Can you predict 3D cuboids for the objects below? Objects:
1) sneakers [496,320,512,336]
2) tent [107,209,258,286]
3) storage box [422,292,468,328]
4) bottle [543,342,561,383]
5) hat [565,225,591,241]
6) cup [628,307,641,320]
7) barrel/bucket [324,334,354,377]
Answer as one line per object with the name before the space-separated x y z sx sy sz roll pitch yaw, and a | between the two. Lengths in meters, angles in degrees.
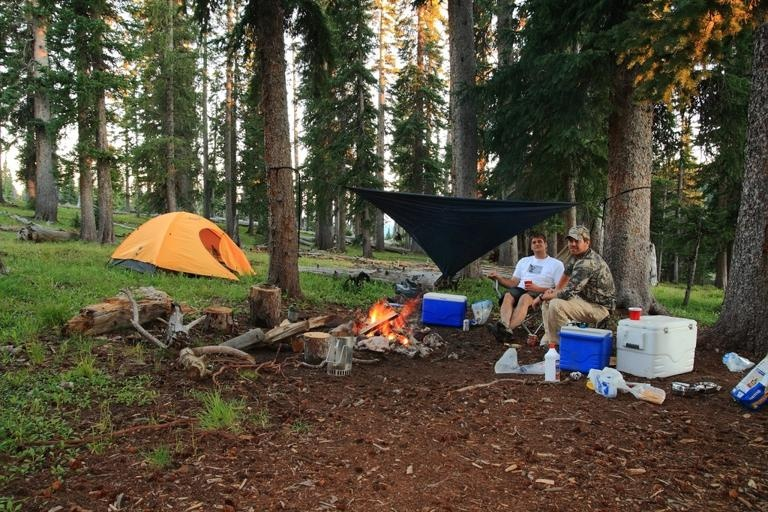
sneakers | 2.321 1.393 14.374 0.296 0.259 0.196 3 2 8
tent | -4.822 -0.280 17.828 3.038 1.573 1.234 2 2 -17
storage box | 1.248 1.138 15.402 0.873 0.618 0.519 6 1 19
bottle | 2.988 1.858 13.016 0.437 0.674 0.255 1 2 -41
hat | 3.717 -0.476 14.040 0.425 0.222 0.280 10 -5 -36
cup | 4.500 1.021 13.310 0.248 0.201 0.254 1 -4 0
barrel/bucket | -0.658 1.765 13.294 0.509 0.704 0.627 3 3 12
